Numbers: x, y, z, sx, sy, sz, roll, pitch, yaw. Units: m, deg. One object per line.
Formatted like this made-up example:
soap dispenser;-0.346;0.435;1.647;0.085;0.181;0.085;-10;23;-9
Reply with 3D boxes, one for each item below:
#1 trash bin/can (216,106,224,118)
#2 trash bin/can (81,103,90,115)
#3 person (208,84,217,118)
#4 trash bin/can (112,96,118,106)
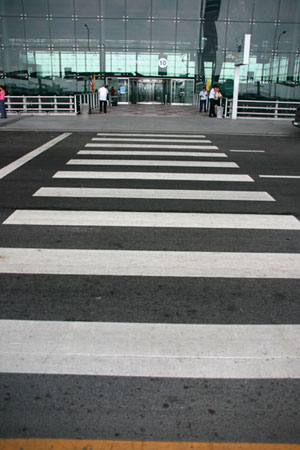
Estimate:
trash bin/can;4.809;-7.807;25.587;0.435;0.829;1.182;4;15;9
trash bin/can;-4.569;-8.151;26.161;0.576;0.900;0.681;-3;14;-20
person;4.387;-8.603;25.719;0.462;2.146;1.527;3;13;11
trash bin/can;-4.206;-14.604;43.537;0.872;1.230;1.118;-3;24;-5
